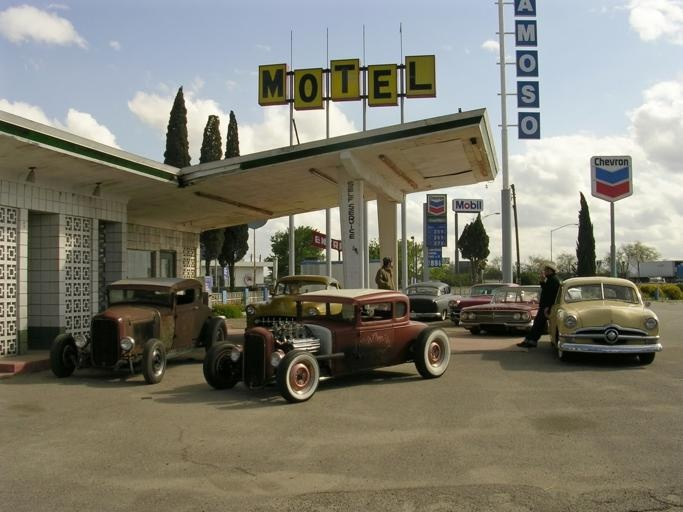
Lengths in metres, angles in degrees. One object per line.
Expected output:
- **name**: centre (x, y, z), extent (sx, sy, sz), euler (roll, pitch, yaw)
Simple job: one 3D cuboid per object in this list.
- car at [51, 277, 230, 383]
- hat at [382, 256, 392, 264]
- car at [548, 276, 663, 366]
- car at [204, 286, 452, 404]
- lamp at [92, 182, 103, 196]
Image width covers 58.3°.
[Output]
- **car**: centre (-4.175, 1.425, 12.860), extent (2.349, 1.841, 2.863), euler (0, 3, 18)
- **hat**: centre (1.333, 0.156, 18.358), extent (0.210, 0.306, 0.252), euler (10, 10, 44)
- **car**: centre (5.493, 1.377, 12.876), extent (1.868, 1.737, 2.009), euler (0, 3, 15)
- **car**: centre (0.065, 1.488, 10.957), extent (1.875, 1.530, 3.667), euler (-7, -9, 44)
- **lamp**: centre (-6.327, -1.731, 15.899), extent (0.238, 0.315, 0.364), euler (-2, 4, -26)
